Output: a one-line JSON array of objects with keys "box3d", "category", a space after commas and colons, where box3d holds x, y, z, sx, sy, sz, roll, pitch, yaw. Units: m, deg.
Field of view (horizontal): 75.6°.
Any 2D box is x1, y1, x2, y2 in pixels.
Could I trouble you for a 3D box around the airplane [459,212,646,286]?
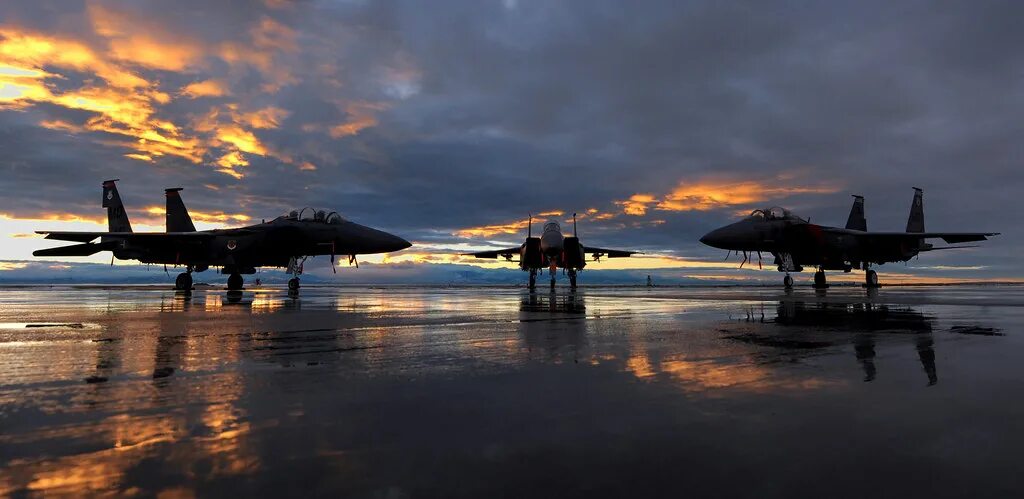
[{"box3d": [1.740, 0.266, 30.170, 6.777, 1.670, 4.115, 0, -8, 2], "category": "airplane"}]
